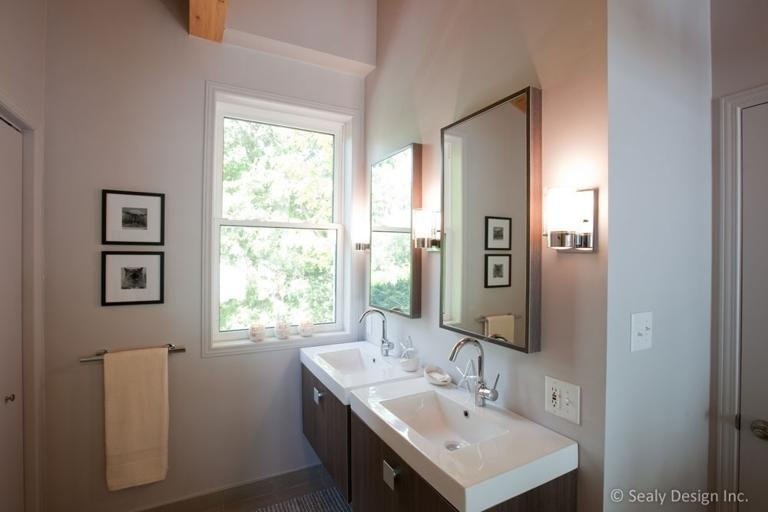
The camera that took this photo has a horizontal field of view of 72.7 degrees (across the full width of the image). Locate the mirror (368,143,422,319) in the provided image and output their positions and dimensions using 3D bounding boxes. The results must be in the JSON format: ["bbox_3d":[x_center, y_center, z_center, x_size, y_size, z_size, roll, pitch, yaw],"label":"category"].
[{"bbox_3d":[0.018,-0.184,3.678,0.102,1.048,0.580,7,9,32],"label":"mirror"}]

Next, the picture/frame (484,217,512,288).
[{"bbox_3d":[0.626,-0.025,2.868,0.045,0.292,0.173,-4,1,-35],"label":"picture/frame"}]

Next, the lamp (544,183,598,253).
[{"bbox_3d":[0.941,-0.183,2.670,0.210,0.350,0.244,10,0,-19],"label":"lamp"}]

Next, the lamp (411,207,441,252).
[{"bbox_3d":[0.271,-0.162,3.305,0.169,0.212,0.081,-3,1,4],"label":"lamp"}]

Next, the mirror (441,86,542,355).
[{"bbox_3d":[0.493,-0.179,2.947,0.711,1.377,0.128,-4,10,-20],"label":"mirror"}]

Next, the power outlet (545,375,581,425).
[{"bbox_3d":[0.915,0.738,2.679,0.035,0.165,0.183,-4,1,-43],"label":"power outlet"}]
